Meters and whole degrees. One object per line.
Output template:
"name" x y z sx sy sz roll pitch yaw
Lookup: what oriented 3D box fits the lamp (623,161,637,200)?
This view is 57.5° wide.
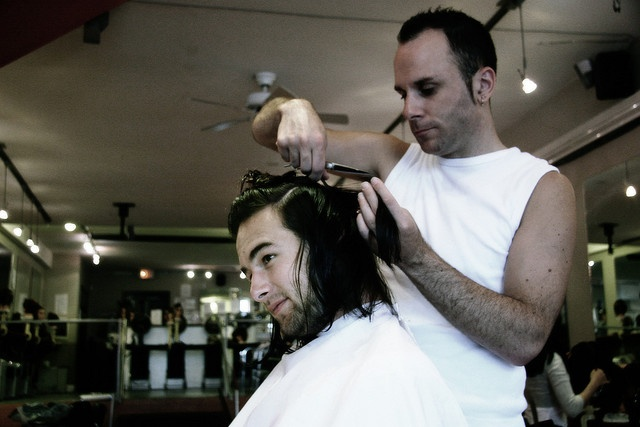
"lamp" 1.838 -0.200 3.434 0.068 0.191 0.105 -9 -14 16
